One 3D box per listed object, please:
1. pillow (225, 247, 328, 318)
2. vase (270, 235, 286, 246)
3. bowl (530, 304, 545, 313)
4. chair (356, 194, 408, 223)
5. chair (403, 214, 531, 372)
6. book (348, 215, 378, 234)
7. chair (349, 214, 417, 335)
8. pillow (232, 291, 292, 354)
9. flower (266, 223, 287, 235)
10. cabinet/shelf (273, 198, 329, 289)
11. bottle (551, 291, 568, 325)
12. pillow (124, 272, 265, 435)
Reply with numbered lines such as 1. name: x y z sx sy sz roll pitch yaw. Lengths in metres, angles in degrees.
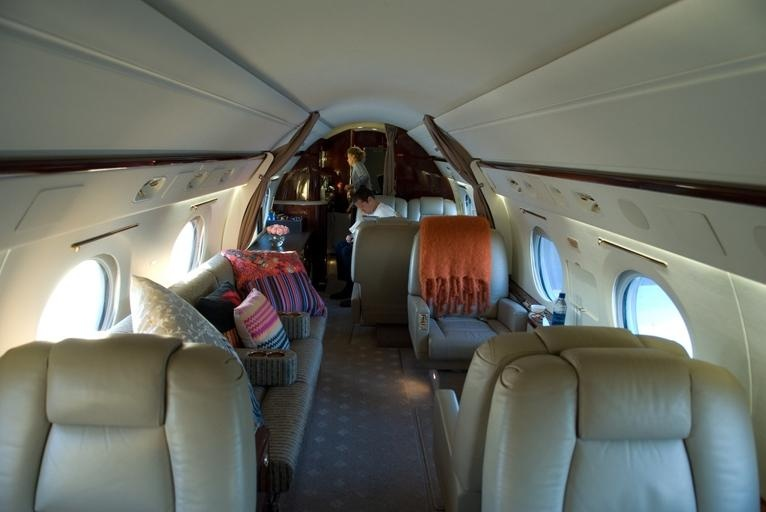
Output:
1. pillow: -1.093 0.206 4.698 0.753 0.746 0.222 1 -31 -43
2. vase: -1.480 -0.200 6.587 0.161 0.164 0.167 -3 14 1
3. bowl: 1.540 0.536 4.648 0.143 0.093 0.132 0 15 0
4. chair: -0.029 -0.736 7.325 0.608 0.477 0.348 -1 17 5
5. chair: 0.814 0.426 5.152 1.308 1.818 1.462 0 -7 2
6. book: -0.336 -0.489 6.872 0.437 0.426 0.324 -3 4 -27
7. chair: 0.096 0.135 6.022 1.108 1.408 1.319 4 15 14
8. pillow: -0.997 0.570 3.991 0.295 0.488 0.571 -3 22 5
9. flower: -1.484 -0.358 6.624 0.187 0.108 0.192 1 3 -2
10. cabinet/shelf: -1.189 -0.207 6.759 0.449 0.664 1.346 -1 22 -3
11. bottle: 1.645 0.514 4.370 0.128 0.309 0.288 5 15 22
12. pillow: -1.018 0.533 2.555 0.453 0.806 0.872 -11 8 -19
